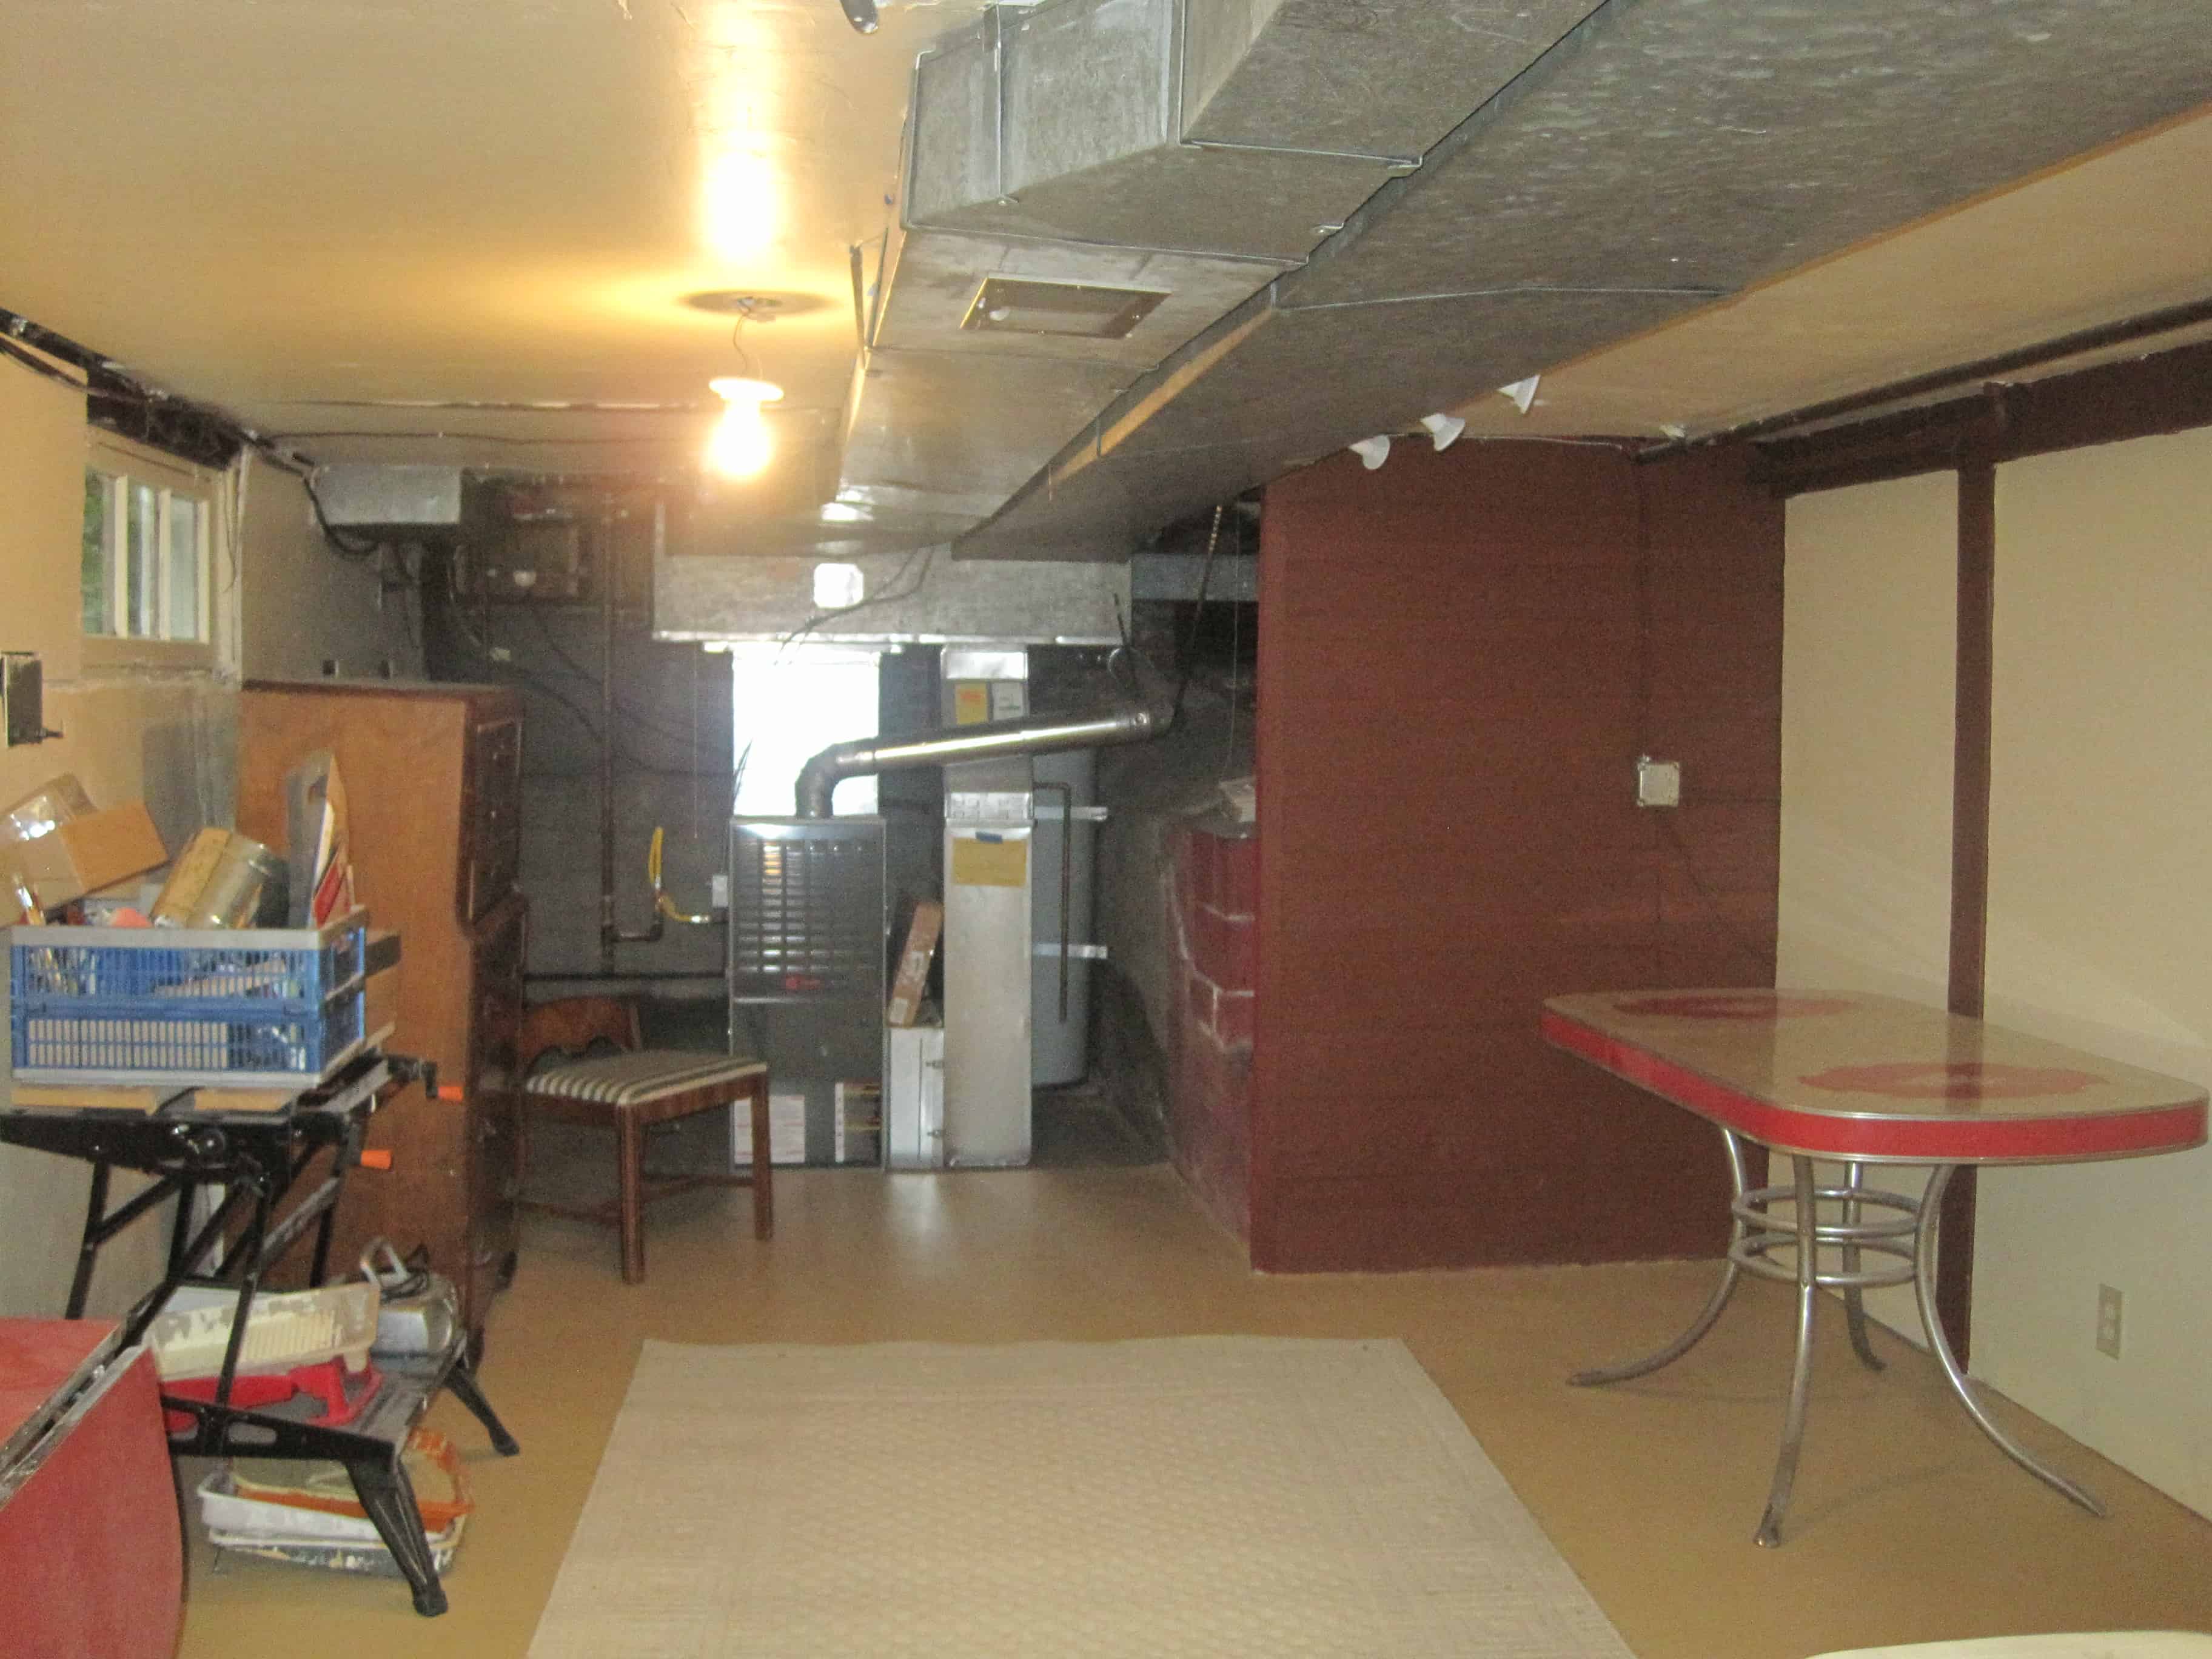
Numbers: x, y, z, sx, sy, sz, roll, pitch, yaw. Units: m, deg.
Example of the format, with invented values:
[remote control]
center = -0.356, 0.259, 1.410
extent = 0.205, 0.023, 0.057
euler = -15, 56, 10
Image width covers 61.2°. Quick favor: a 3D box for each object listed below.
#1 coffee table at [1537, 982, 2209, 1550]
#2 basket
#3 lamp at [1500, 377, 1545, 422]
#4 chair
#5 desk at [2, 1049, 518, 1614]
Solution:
[coffee table]
center = 1.864, 1.003, 4.712
extent = 1.137, 1.071, 1.544
euler = -2, 9, -12
[basket]
center = -1.928, 0.349, 3.826
extent = 0.466, 0.232, 0.433
euler = 1, -3, -10
[lamp]
center = 1.018, -1.044, 4.505
extent = 0.123, 0.108, 0.340
euler = -2, 13, 3
[chair]
center = -1.606, 0.882, 6.449
extent = 0.794, 0.919, 1.798
euler = -3, 9, -17
[desk]
center = -1.824, 0.982, 4.359
extent = 1.390, 0.997, 0.999
euler = 9, 2, -5
